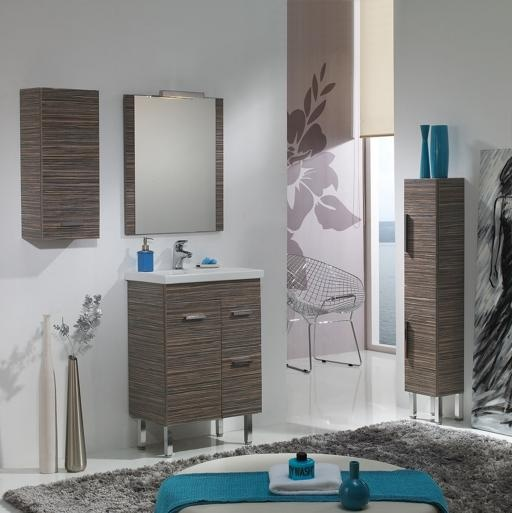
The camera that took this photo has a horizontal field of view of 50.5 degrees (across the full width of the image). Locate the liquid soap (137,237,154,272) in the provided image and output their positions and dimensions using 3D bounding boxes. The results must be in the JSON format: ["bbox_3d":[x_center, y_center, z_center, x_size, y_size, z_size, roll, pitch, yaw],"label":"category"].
[{"bbox_3d":[-0.665,-0.010,3.250,0.100,0.211,0.138,-3,-6,-10],"label":"liquid soap"}]

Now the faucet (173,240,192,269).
[{"bbox_3d":[-0.461,-0.011,3.364,0.112,0.182,0.066,-3,-6,-11],"label":"faucet"}]

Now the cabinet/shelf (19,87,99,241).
[{"bbox_3d":[-1.039,-0.501,2.977,0.324,0.777,0.227,-5,16,-33],"label":"cabinet/shelf"}]

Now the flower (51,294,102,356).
[{"bbox_3d":[-0.999,0.388,3.052,0.261,0.349,0.178,-2,-6,-18],"label":"flower"}]

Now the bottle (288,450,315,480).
[{"bbox_3d":[0.130,0.604,1.602,0.069,0.081,0.071,0,1,-16],"label":"bottle"}]

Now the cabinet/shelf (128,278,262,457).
[{"bbox_3d":[-0.361,0.595,3.298,0.679,0.994,0.474,1,-3,-40],"label":"cabinet/shelf"}]

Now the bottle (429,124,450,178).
[{"bbox_3d":[1.256,-0.713,3.714,0.122,0.360,0.128,-4,-5,0],"label":"bottle"}]

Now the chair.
[{"bbox_3d":[0.873,0.654,6.001,0.883,1.130,0.777,-2,0,-15],"label":"chair"}]

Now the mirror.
[{"bbox_3d":[-0.537,-0.576,3.324,0.828,1.104,0.068,-2,3,-37],"label":"mirror"}]

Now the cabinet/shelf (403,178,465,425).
[{"bbox_3d":[1.264,0.292,3.794,0.338,1.685,0.464,-2,-6,-18],"label":"cabinet/shelf"}]
